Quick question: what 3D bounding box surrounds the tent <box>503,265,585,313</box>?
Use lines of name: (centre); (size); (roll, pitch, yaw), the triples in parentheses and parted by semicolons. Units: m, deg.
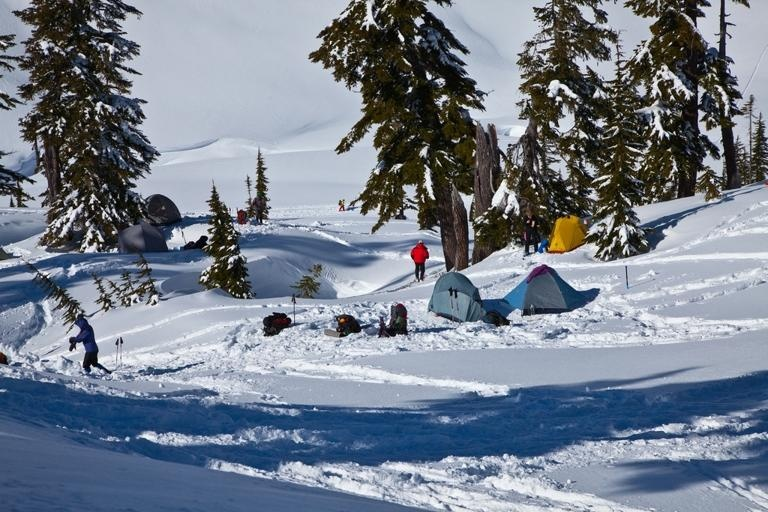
tent: (7.344, 1.594, 42.094); (2.210, 1.383, 2.315); (-3, -2, 31)

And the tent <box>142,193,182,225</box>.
tent: (-14.874, -2.976, 63.780); (2.102, 1.132, 2.022); (-12, 22, -33)

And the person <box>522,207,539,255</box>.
person: (7.487, -1.260, 48.377); (0.764, 2.225, 1.317); (-4, 6, 10)

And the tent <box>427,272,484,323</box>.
tent: (3.201, 1.715, 41.822); (2.219, 1.522, 1.805); (4, 8, 36)

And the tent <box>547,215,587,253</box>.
tent: (9.177, -1.106, 47.523); (1.964, 1.741, 1.163); (-5, 6, 3)
